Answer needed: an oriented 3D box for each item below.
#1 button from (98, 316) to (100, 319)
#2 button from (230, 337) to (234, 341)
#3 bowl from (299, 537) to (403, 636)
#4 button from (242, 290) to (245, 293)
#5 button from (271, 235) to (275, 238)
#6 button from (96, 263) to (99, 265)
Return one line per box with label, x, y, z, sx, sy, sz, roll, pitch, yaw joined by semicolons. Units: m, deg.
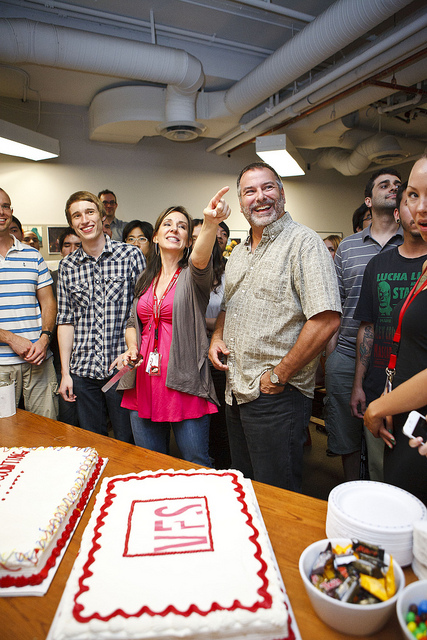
button;-0.658;-0.017;2.339;0.014;0.014;0.004;-1;-3;17
button;0.073;0.077;1.688;0.014;0.014;0.003;-15;-10;21
bowl;0.211;0.369;0.627;0.132;0.073;0.134;-1;10;0
button;0.118;-0.118;1.645;0.010;0.010;0.002;-1;-6;21
button;0.231;-0.330;1.599;0.006;0.009;0.004;2;1;-6
button;-0.673;-0.325;2.353;0.009;0.009;0.016;12;12;13
